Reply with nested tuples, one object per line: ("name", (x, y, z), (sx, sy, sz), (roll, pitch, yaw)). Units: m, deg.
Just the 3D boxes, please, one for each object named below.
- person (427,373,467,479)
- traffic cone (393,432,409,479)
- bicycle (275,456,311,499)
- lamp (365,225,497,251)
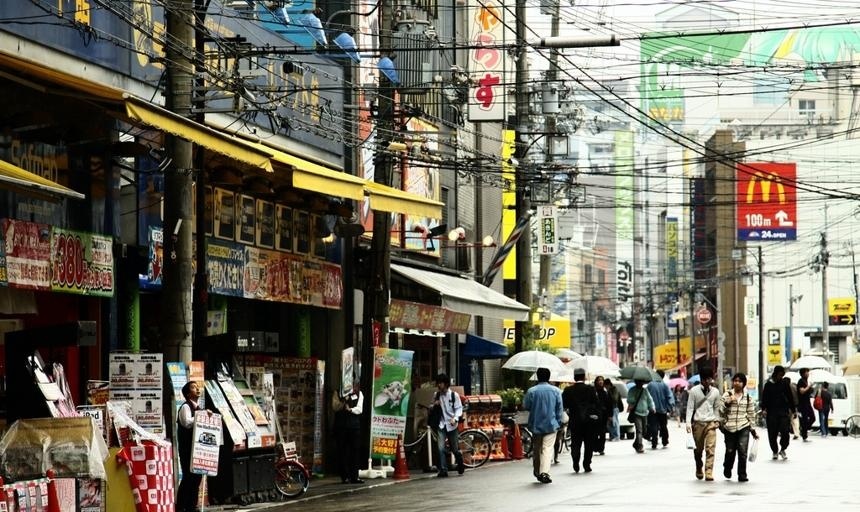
("person", (0.544, 4.780, 44.050), (1.000, 2.739, 1.091), (-2, -4, 24))
("traffic cone", (-0.893, 5.727, 43.239), (0.435, 1.253, 0.780), (-2, -10, -2))
("bicycle", (-3.593, 5.905, 40.247), (0.222, 0.874, 1.043), (-10, -8, 20))
("lamp", (0.289, -0.588, 51.440), (5.184, 1.372, 2.291), (1, 1, 38))
